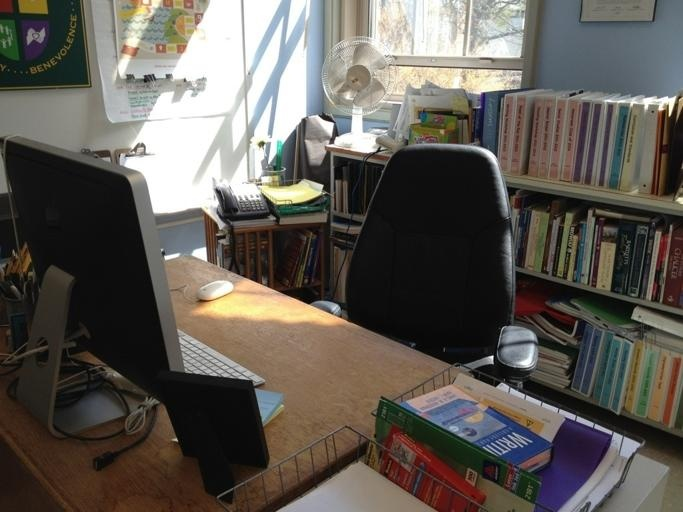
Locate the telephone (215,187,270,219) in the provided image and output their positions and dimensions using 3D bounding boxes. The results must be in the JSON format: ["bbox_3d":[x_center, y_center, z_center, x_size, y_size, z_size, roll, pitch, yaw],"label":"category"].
[{"bbox_3d":[-0.548,-0.312,2.904,0.269,0.132,0.362,-7,24,-26],"label":"telephone"}]

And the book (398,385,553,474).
[{"bbox_3d":[0.272,0.331,1.034,0.167,0.036,0.169,25,20,31],"label":"book"}]

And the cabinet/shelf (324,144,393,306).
[{"bbox_3d":[-0.009,-0.249,3.371,0.231,0.777,0.414,13,15,-20],"label":"cabinet/shelf"}]

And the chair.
[{"bbox_3d":[0.369,0.054,2.106,0.673,0.997,0.708,19,24,40],"label":"chair"}]

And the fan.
[{"bbox_3d":[0.089,-0.993,3.128,0.365,0.559,0.544,-1,21,-2],"label":"fan"}]

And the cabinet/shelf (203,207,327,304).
[{"bbox_3d":[-0.407,-0.060,3.179,0.702,0.718,0.515,-7,16,-29],"label":"cabinet/shelf"}]

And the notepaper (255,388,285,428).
[{"bbox_3d":[-0.169,0.360,1.278,0.079,0.025,0.080,11,20,32],"label":"notepaper"}]
